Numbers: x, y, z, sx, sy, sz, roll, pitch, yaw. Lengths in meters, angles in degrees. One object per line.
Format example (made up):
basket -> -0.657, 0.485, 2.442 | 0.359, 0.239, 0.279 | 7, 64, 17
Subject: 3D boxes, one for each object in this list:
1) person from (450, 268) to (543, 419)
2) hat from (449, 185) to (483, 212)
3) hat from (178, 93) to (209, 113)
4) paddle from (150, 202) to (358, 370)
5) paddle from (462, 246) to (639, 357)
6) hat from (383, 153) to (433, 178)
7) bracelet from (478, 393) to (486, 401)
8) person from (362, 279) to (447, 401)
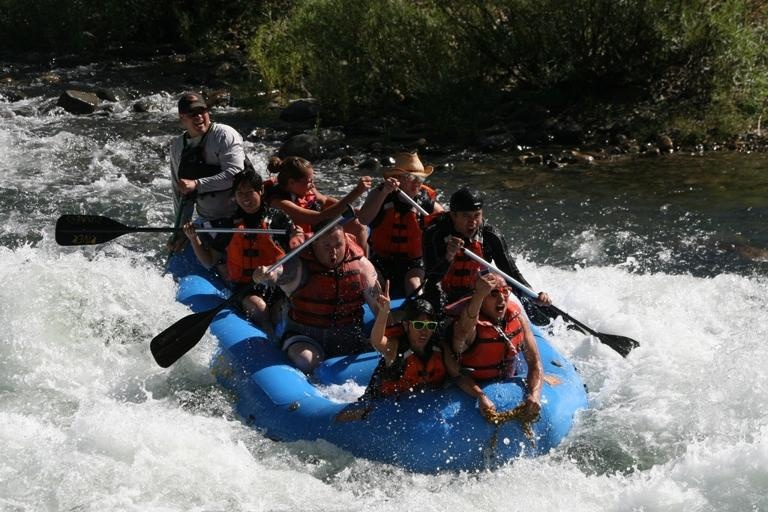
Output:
person -> 1.062, 0.800, 7.468 | 0.910, 1.266, 0.776 | -1, 28, -6
hat -> 0.804, -0.578, 8.062 | 0.262, 0.163, 0.255 | -3, 10, 1
hat -> -2.208, -1.763, 9.278 | 0.301, 0.197, 0.325 | -5, 28, -14
paddle -> -1.287, 0.356, 8.503 | 2.813, 0.203, 0.402 | -36, 75, 2
paddle -> 1.650, 0.448, 8.375 | 2.041, 0.345, 0.101 | 34, 60, 15
hat -> 0.276, -1.008, 8.905 | 0.441, 0.261, 0.388 | 8, 28, 11
bracelet -> 0.918, 1.293, 7.421 | 0.071, 0.035, 0.064 | 2, 27, -2
person -> 0.217, 0.864, 7.478 | 0.793, 1.075, 0.379 | 2, 28, -2
